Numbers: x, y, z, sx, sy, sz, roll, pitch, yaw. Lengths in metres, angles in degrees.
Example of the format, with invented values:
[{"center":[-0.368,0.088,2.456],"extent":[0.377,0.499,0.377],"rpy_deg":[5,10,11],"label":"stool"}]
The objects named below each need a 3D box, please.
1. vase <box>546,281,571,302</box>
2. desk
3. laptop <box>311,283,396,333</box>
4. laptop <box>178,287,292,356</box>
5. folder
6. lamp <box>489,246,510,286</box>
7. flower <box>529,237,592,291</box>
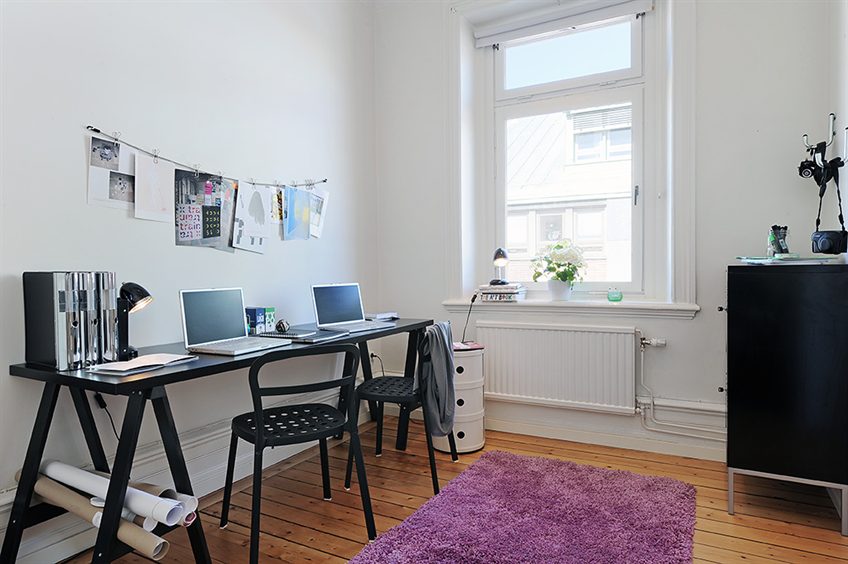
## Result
[{"center":[1.020,0.071,4.273],"extent":[0.134,0.116,0.149],"rpy_deg":[1,-6,-8],"label":"vase"},{"center":[-1.163,0.829,3.084],"extent":[1.960,1.067,0.855],"rpy_deg":[-10,16,-34],"label":"desk"},{"center":[-0.545,0.168,3.874],"extent":[0.344,0.258,0.410],"rpy_deg":[0,0,29],"label":"laptop"},{"center":[-1.115,0.208,3.231],"extent":[0.382,0.330,0.466],"rpy_deg":[-2,-2,21],"label":"laptop"},{"center":[-1.723,0.164,2.859],"extent":[0.447,0.593,0.418],"rpy_deg":[0,0,20],"label":"folder"},{"center":[0.601,-0.133,4.501],"extent":[0.131,0.279,0.305],"rpy_deg":[1,13,7],"label":"lamp"},{"center":[1.052,-0.111,4.363],"extent":[0.341,0.279,0.311],"rpy_deg":[-1,-23,-32],"label":"flower"}]
